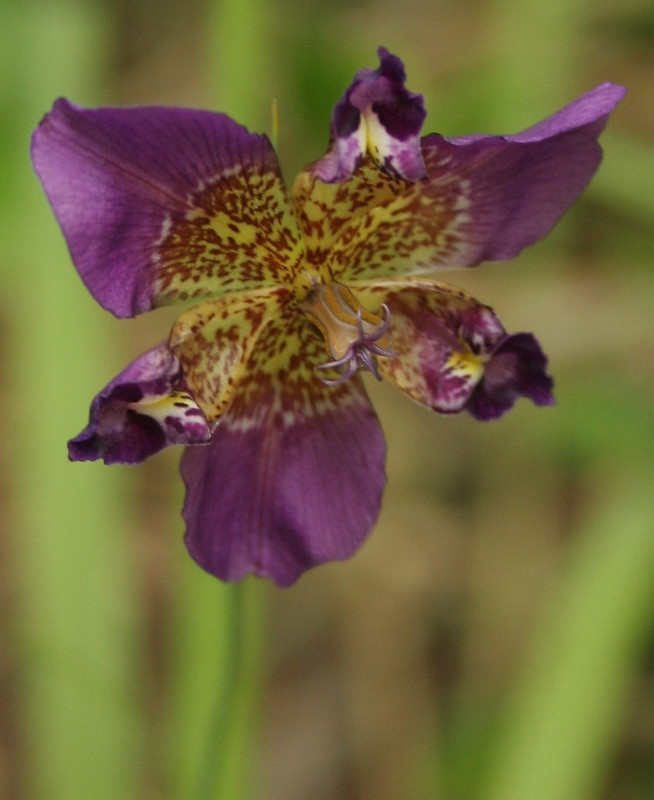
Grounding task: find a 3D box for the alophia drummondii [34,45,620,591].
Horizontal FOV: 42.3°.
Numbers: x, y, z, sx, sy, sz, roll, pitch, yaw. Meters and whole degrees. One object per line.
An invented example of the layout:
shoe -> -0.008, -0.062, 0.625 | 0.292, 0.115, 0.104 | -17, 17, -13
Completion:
alophia drummondii -> -0.008, -0.090, 0.776 | 0.494, 0.212, 0.460 | 13, 61, 2
